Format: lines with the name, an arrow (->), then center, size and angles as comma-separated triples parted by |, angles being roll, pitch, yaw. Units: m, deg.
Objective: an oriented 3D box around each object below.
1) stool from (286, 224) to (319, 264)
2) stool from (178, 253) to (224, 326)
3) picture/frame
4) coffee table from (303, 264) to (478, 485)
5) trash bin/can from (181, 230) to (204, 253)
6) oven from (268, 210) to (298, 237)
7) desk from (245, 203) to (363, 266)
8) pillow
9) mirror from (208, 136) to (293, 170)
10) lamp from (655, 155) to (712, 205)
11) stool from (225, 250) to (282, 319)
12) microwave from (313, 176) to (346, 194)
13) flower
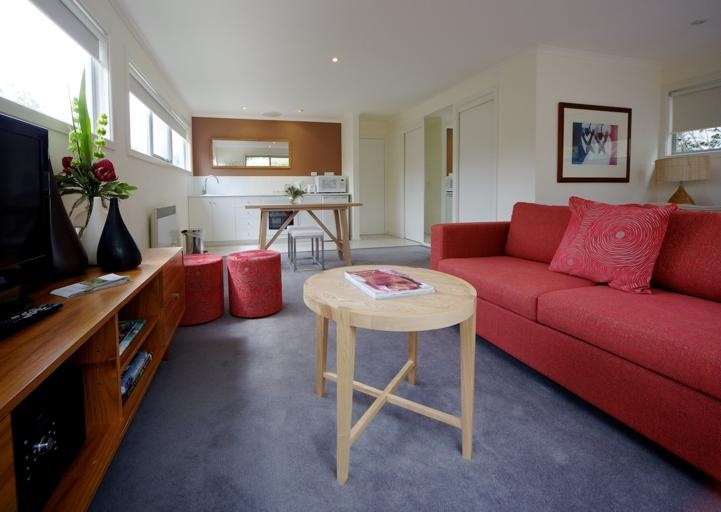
stool -> -0.629, -0.162, 5.571 | 0.479, 0.563, 0.495 | 0, 3, -12
stool -> -1.252, 0.372, 3.631 | 0.435, 0.519, 0.449 | 3, -19, -24
picture/frame -> 2.786, -1.335, 5.414 | 0.045, 0.909, 1.030 | -14, 19, -19
coffee table -> 0.127, 0.546, 2.361 | 0.966, 0.777, 0.974 | 8, 12, 32
trash bin/can -> -2.215, -0.174, 6.053 | 0.187, 0.312, 0.439 | -6, 11, -31
oven -> -1.170, -0.515, 6.932 | 0.517, 0.403, 0.295 | 1, 5, -4
desk -> -0.622, -0.452, 6.660 | 1.933, 0.768, 3.124 | -2, 10, -14
pillow -> 1.495, -0.062, 2.663 | 0.156, 0.548, 0.527 | 24, -3, -34
mirror -> -1.946, -1.814, 8.123 | 1.329, 0.482, 0.079 | -3, 10, -17
lamp -> 3.936, -0.920, 5.584 | 0.477, 0.601, 0.506 | -9, 7, -9
stool -> -0.885, 0.194, 3.740 | 0.461, 0.547, 0.478 | -5, 18, -19
microwave -> -0.523, -1.298, 8.235 | 0.564, 0.312, 0.296 | -1, 10, -5
flower -> -1.530, -0.562, 2.553 | 0.415, 0.632, 0.444 | 4, 11, 28
